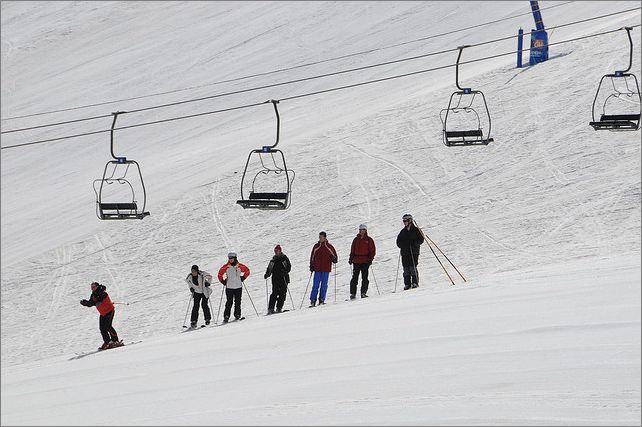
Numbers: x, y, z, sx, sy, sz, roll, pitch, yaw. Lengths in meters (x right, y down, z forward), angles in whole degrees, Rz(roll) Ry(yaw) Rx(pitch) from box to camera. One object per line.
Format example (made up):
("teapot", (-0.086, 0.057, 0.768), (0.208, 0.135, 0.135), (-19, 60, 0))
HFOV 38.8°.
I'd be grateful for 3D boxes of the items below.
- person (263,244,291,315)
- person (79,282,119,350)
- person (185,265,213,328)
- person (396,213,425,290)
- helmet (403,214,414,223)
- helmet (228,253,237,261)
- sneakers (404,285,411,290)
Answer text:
("person", (-1.480, 2.225, 30.901), (0.869, 2.389, 1.208), (-4, -11, -6))
("person", (-7.357, 3.386, 30.502), (1.055, 2.263, 1.110), (-3, -12, -9))
("person", (-4.227, 2.858, 31.383), (0.807, 2.218, 1.531), (-3, -11, -8))
("person", (3.037, 1.281, 30.885), (0.844, 2.633, 1.050), (-6, -12, 4))
("helmet", (2.919, 0.158, 30.784), (0.263, 0.198, 0.327), (2, -14, 12))
("helmet", (-3.058, 1.456, 31.113), (0.356, 0.116, 0.452), (0, 6, 4))
("sneakers", (2.904, 2.467, 30.757), (0.202, 0.121, 0.326), (-1, -6, 11))
